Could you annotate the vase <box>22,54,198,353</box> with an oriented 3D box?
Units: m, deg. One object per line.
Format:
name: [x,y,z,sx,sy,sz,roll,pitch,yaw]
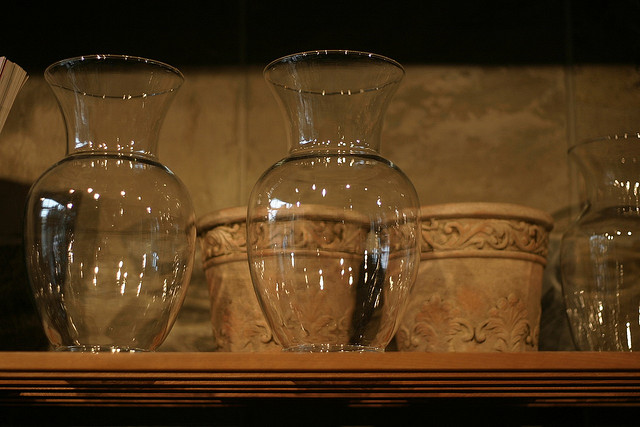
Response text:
vase: [-0.287,-0.016,1.274,0.228,0.406,0.119,0,-2,-19]

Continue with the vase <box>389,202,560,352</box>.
vase: [0.232,0.132,1.485,0.311,0.232,0.295,10,-15,-35]
